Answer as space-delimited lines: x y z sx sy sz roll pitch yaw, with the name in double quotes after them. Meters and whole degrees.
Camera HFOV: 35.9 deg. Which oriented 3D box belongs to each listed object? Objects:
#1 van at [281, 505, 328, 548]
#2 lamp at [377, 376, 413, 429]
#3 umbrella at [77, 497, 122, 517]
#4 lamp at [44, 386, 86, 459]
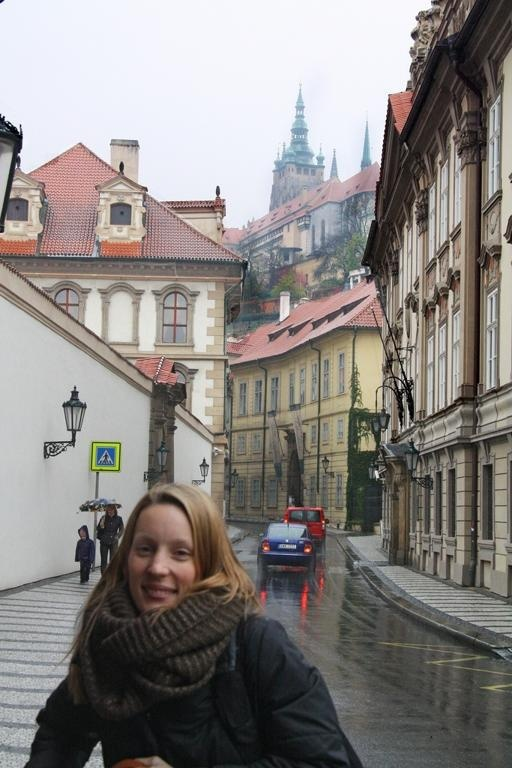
2.300 6.902 36.246 1.731 1.822 3.062 0 -1 4 "van"
5.373 0.736 30.669 1.126 2.366 0.614 6 24 17 "lamp"
-3.818 2.946 18.883 0.686 0.324 1.009 -1 -13 3 "umbrella"
-4.083 0.849 17.022 0.762 1.640 1.804 3 -9 -7 "lamp"
